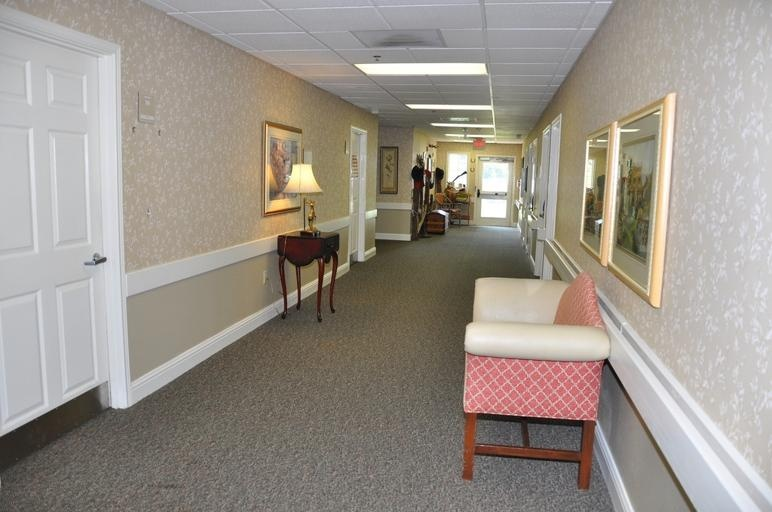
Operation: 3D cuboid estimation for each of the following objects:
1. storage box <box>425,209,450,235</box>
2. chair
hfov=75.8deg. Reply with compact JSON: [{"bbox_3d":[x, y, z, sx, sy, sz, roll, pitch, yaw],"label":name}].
[{"bbox_3d":[1.448,-0.987,14.064,0.512,0.616,1.007,-1,11,5],"label":"storage box"},{"bbox_3d":[1.096,0.754,3.641,0.960,1.302,1.266,5,15,13],"label":"chair"}]
